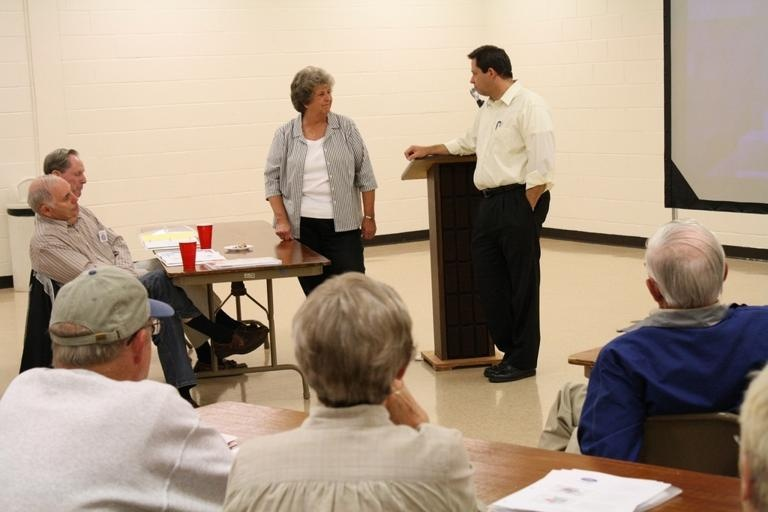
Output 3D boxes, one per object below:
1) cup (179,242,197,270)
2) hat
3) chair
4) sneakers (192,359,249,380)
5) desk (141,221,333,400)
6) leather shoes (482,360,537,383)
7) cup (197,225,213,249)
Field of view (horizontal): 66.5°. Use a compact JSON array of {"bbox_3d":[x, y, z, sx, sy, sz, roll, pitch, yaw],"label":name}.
[{"bbox_3d":[-1.248,-0.008,3.748,0.150,0.208,0.154,-1,-1,0],"label":"cup"},{"bbox_3d":[-0.768,0.143,1.673,0.180,0.145,0.273,9,18,36],"label":"hat"},{"bbox_3d":[0.971,0.580,1.919,0.196,0.263,0.221,0,7,-11],"label":"chair"},{"bbox_3d":[-1.306,0.882,4.660,0.451,0.172,0.164,-4,7,-18],"label":"sneakers"},{"bbox_3d":[-1.036,-0.130,4.244,1.039,1.132,2.323,-2,10,-16],"label":"desk"},{"bbox_3d":[0.949,0.871,4.469,0.250,0.093,0.191,2,2,-3],"label":"leather shoes"},{"bbox_3d":[-1.293,-0.139,4.283,0.155,0.207,0.152,-1,1,0],"label":"cup"}]
